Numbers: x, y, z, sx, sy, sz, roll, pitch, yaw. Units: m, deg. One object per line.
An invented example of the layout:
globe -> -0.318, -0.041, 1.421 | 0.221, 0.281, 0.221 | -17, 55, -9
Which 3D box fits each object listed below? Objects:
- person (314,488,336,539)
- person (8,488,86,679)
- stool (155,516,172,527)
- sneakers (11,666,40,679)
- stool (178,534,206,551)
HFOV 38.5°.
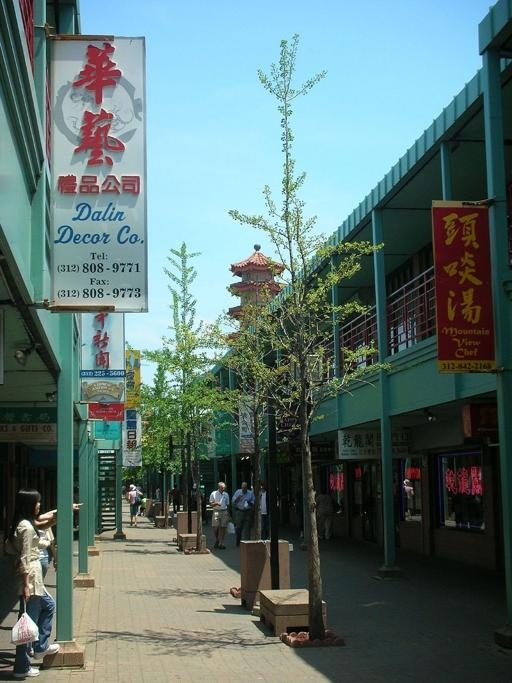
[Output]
person -> 2.217, 5.691, 23.599 | 0.509, 1.406, 1.787 | -2, -12, 4
person -> -2.023, 2.205, 6.748 | 0.434, 1.614, 1.512 | 1, -12, -13
stool -> -4.454, 8.673, 35.170 | 0.775, 0.514, 0.805 | 3, -9, -15
sneakers -> -1.964, 2.861, 6.280 | 0.218, 0.100, 0.087 | 0, 8, -26
stool -> -1.753, 5.857, 21.017 | 0.645, 0.455, 0.673 | 2, -7, -8
